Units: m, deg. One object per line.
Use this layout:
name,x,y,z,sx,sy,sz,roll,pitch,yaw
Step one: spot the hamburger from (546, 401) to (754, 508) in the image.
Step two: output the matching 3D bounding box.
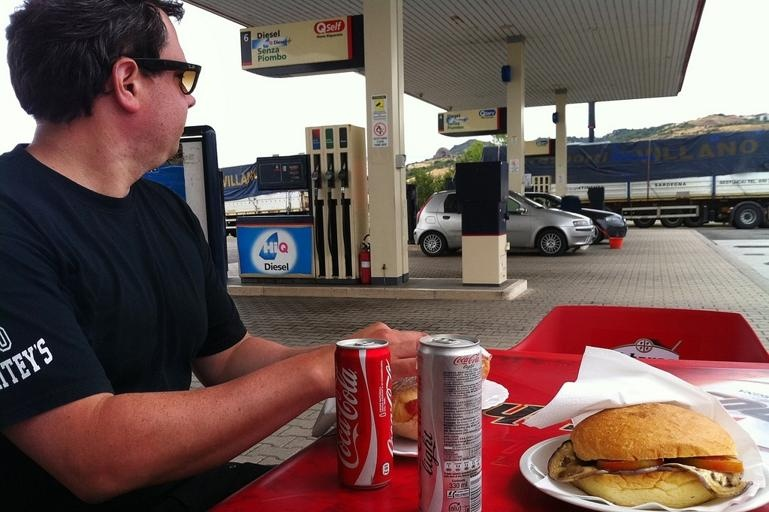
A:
hamburger,0.552,0.419,0.993,0.264,0.093,0.224,-3,-2,-10

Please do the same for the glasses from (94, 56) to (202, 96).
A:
glasses,-0.778,-0.598,1.629,0.204,0.117,0.206,13,6,38

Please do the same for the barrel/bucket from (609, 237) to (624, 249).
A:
barrel/bucket,8.921,-0.534,18.374,0.409,0.361,0.498,-1,-2,14
